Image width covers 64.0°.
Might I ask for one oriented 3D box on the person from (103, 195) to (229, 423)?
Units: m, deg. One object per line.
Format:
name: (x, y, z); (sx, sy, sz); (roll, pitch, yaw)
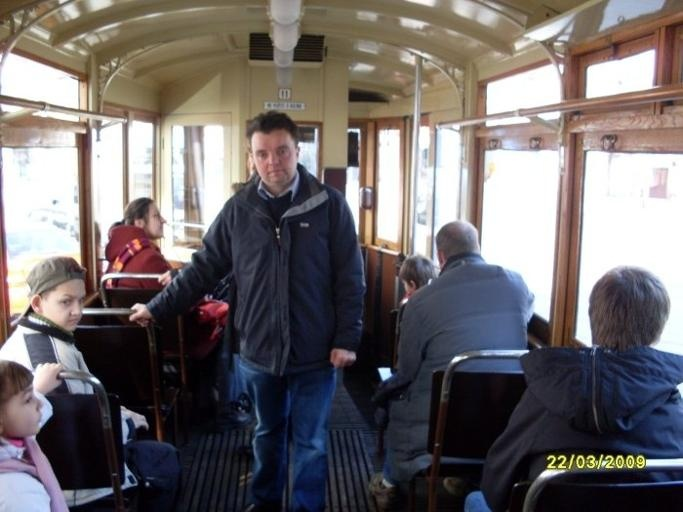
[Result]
person: (-1.661, 0.305, 5.114); (0.914, 1.628, 0.722); (-15, 9, -34)

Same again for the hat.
hat: (-1.470, 0.146, 2.774); (0.270, 0.295, 0.232); (-1, 6, -29)
